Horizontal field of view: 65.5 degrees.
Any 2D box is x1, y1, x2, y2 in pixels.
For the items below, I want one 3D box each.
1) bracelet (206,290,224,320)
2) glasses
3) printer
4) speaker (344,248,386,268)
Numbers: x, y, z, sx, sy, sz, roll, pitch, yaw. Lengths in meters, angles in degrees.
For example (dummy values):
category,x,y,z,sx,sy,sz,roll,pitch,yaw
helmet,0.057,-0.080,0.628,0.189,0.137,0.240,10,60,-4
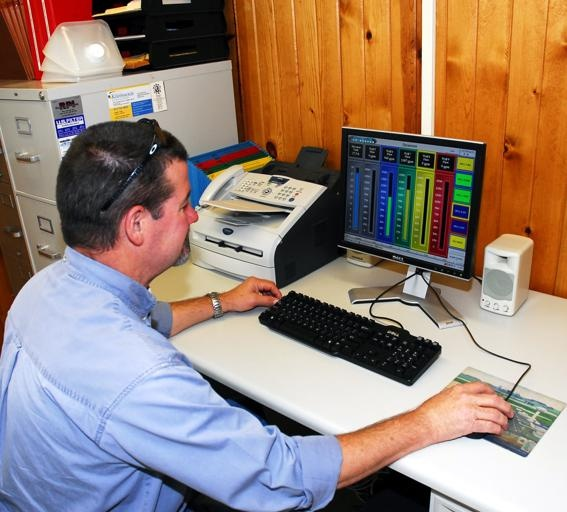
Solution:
category,x,y,z,sx,sy,sz,roll,pitch,yaw
bracelet,-0.211,0.152,1.376,0.047,0.069,0.075,-18,54,-19
glasses,-0.282,-0.165,0.830,0.136,0.038,0.138,-49,19,-4
printer,-0.055,-0.154,1.708,0.506,0.317,0.489,15,32,34
speaker,0.296,-0.014,1.649,0.090,0.053,0.091,18,29,34
